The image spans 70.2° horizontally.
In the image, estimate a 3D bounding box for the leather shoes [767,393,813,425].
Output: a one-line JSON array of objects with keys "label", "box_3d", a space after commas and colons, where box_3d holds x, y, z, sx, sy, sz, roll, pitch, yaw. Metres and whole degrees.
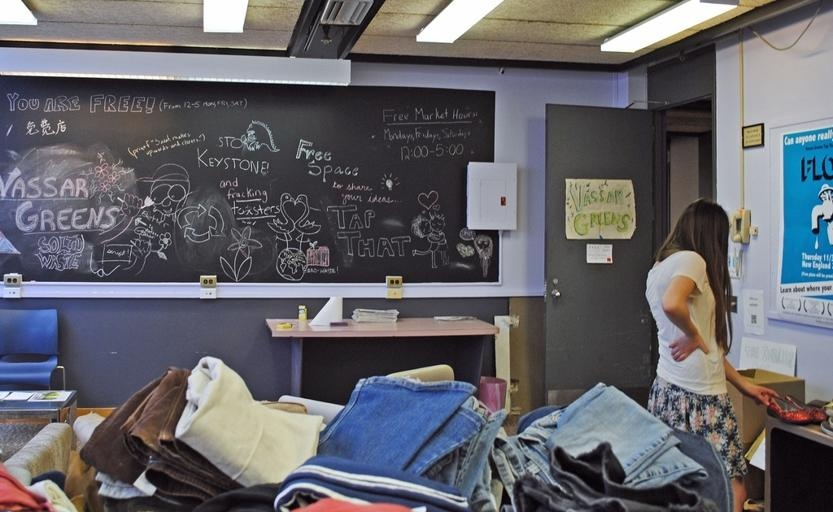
[{"label": "leather shoes", "box_3d": [2.342, 0.980, 3.780, 0.154, 0.064, 0.202, -11, 4, -9]}]

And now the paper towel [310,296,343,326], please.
[{"label": "paper towel", "box_3d": [-0.837, 0.511, 5.427, 0.253, 0.212, 0.086, 2, -3, -7]}]

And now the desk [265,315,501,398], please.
[{"label": "desk", "box_3d": [-0.354, 0.915, 5.475, 1.917, 0.759, 0.808, -4, 4, -10]}]

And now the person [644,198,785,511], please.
[{"label": "person", "box_3d": [1.724, 0.611, 3.713, 0.543, 1.916, 0.339, -2, 5, 19]}]
